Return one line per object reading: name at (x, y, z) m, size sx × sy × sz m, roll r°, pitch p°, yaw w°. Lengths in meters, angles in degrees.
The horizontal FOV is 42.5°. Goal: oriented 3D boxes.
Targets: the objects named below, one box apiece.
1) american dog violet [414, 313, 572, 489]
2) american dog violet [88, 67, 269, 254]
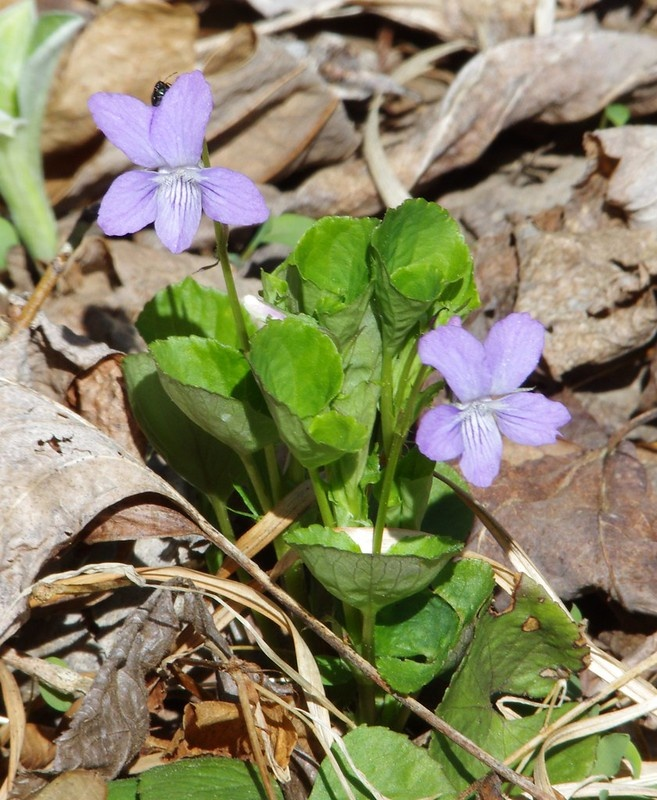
american dog violet at (0.266, 0.016, 1.577) m, size 0.139 × 0.324 × 0.369 m, roll -6°, pitch 8°, yaw -16°
american dog violet at (-0.260, -0.385, 1.533) m, size 0.338 × 0.350 × 0.123 m, roll 32°, pitch 51°, yaw 10°
